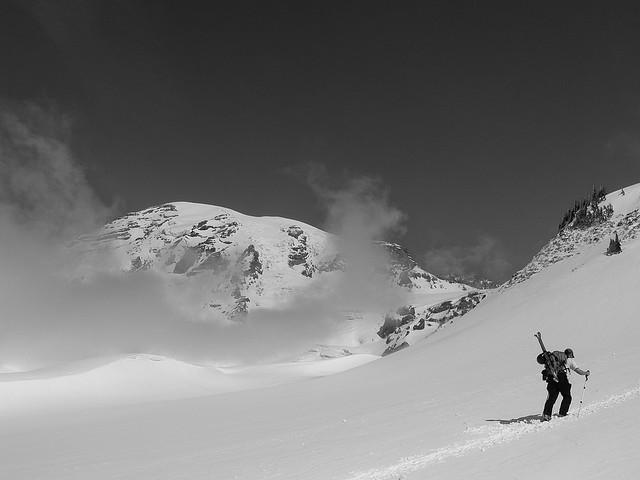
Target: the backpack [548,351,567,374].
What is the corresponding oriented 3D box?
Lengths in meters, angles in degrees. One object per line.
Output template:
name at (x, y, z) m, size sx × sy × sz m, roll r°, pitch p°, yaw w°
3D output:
backpack at (8.692, 4.539, 20.235) m, size 0.614 × 0.760 × 0.325 m, roll 10°, pitch -7°, yaw -4°
